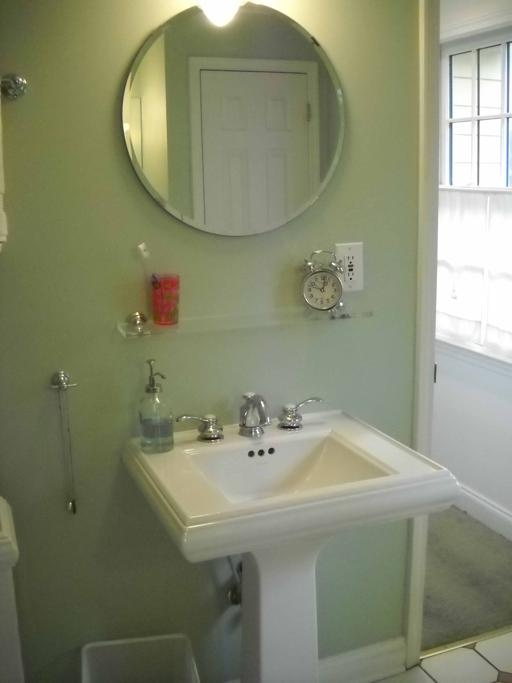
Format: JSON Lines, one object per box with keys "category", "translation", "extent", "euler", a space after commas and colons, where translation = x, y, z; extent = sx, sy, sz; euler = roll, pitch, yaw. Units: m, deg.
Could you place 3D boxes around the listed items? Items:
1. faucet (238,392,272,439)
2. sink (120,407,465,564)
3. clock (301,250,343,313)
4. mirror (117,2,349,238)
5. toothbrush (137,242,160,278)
{"category": "faucet", "translation": [-0.007, 0.180, 1.341], "extent": [0.085, 0.134, 0.088], "euler": [-4, 15, -17]}
{"category": "sink", "translation": [0.051, 0.308, 1.218], "extent": [0.605, 0.143, 0.474], "euler": [-3, 10, -23]}
{"category": "clock", "translation": [0.172, -0.151, 1.440], "extent": [0.123, 0.161, 0.064], "euler": [-1, 9, -12]}
{"category": "mirror", "translation": [-0.069, -0.510, 1.264], "extent": [0.504, 0.553, 0.018], "euler": [-5, 19, -21]}
{"category": "toothbrush", "translation": [-0.241, -0.181, 1.259], "extent": [0.045, 0.079, 0.043], "euler": [-1, 9, -9]}
